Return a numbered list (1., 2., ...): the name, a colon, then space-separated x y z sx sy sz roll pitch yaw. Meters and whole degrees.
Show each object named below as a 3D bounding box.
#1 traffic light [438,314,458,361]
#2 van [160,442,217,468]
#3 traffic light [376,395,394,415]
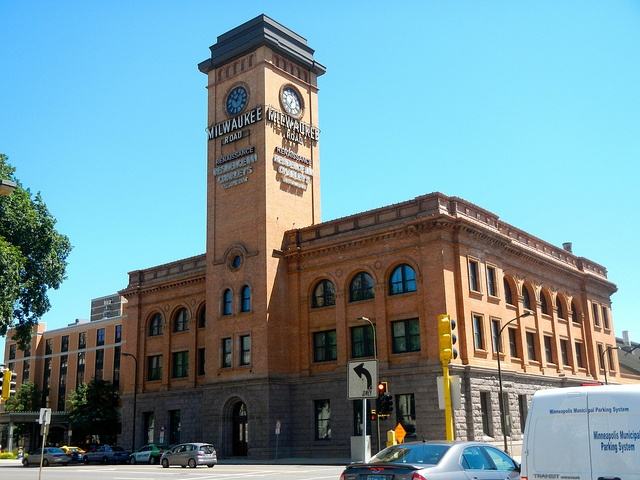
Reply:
1. traffic light: 4.201 3.223 19.576 0.598 1.332 0.423 -1 -11 7
2. van: -8.687 14.515 40.360 3.219 1.399 2.020 -10 -25 28
3. traffic light: 3.134 8.076 29.352 0.721 1.116 1.401 -2 -25 3
